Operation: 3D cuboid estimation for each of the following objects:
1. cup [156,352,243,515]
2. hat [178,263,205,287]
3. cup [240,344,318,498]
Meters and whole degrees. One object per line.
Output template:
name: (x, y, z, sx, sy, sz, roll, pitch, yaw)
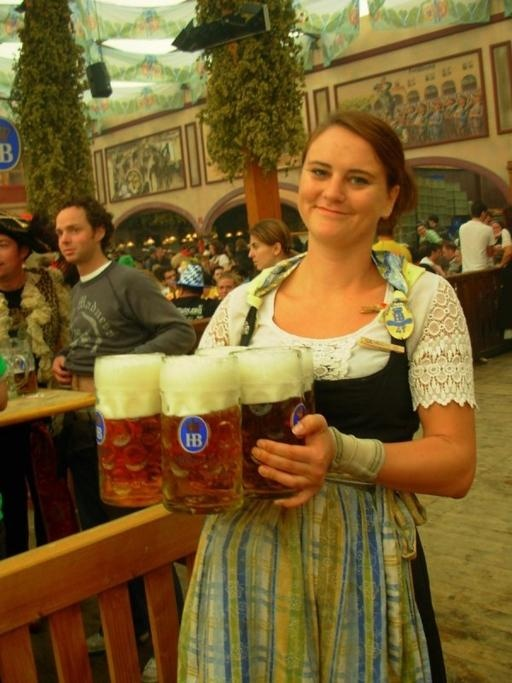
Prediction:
cup: (-0.057, 0.097, 0.532, 0.094, 0.161, 0.049, -8, 7, -4)
hat: (-0.630, -0.675, 5.053, 0.285, 0.165, 0.275, 5, -3, -4)
cup: (0.040, 0.093, 0.632, 0.064, 0.177, 0.143, -2, 8, 37)
